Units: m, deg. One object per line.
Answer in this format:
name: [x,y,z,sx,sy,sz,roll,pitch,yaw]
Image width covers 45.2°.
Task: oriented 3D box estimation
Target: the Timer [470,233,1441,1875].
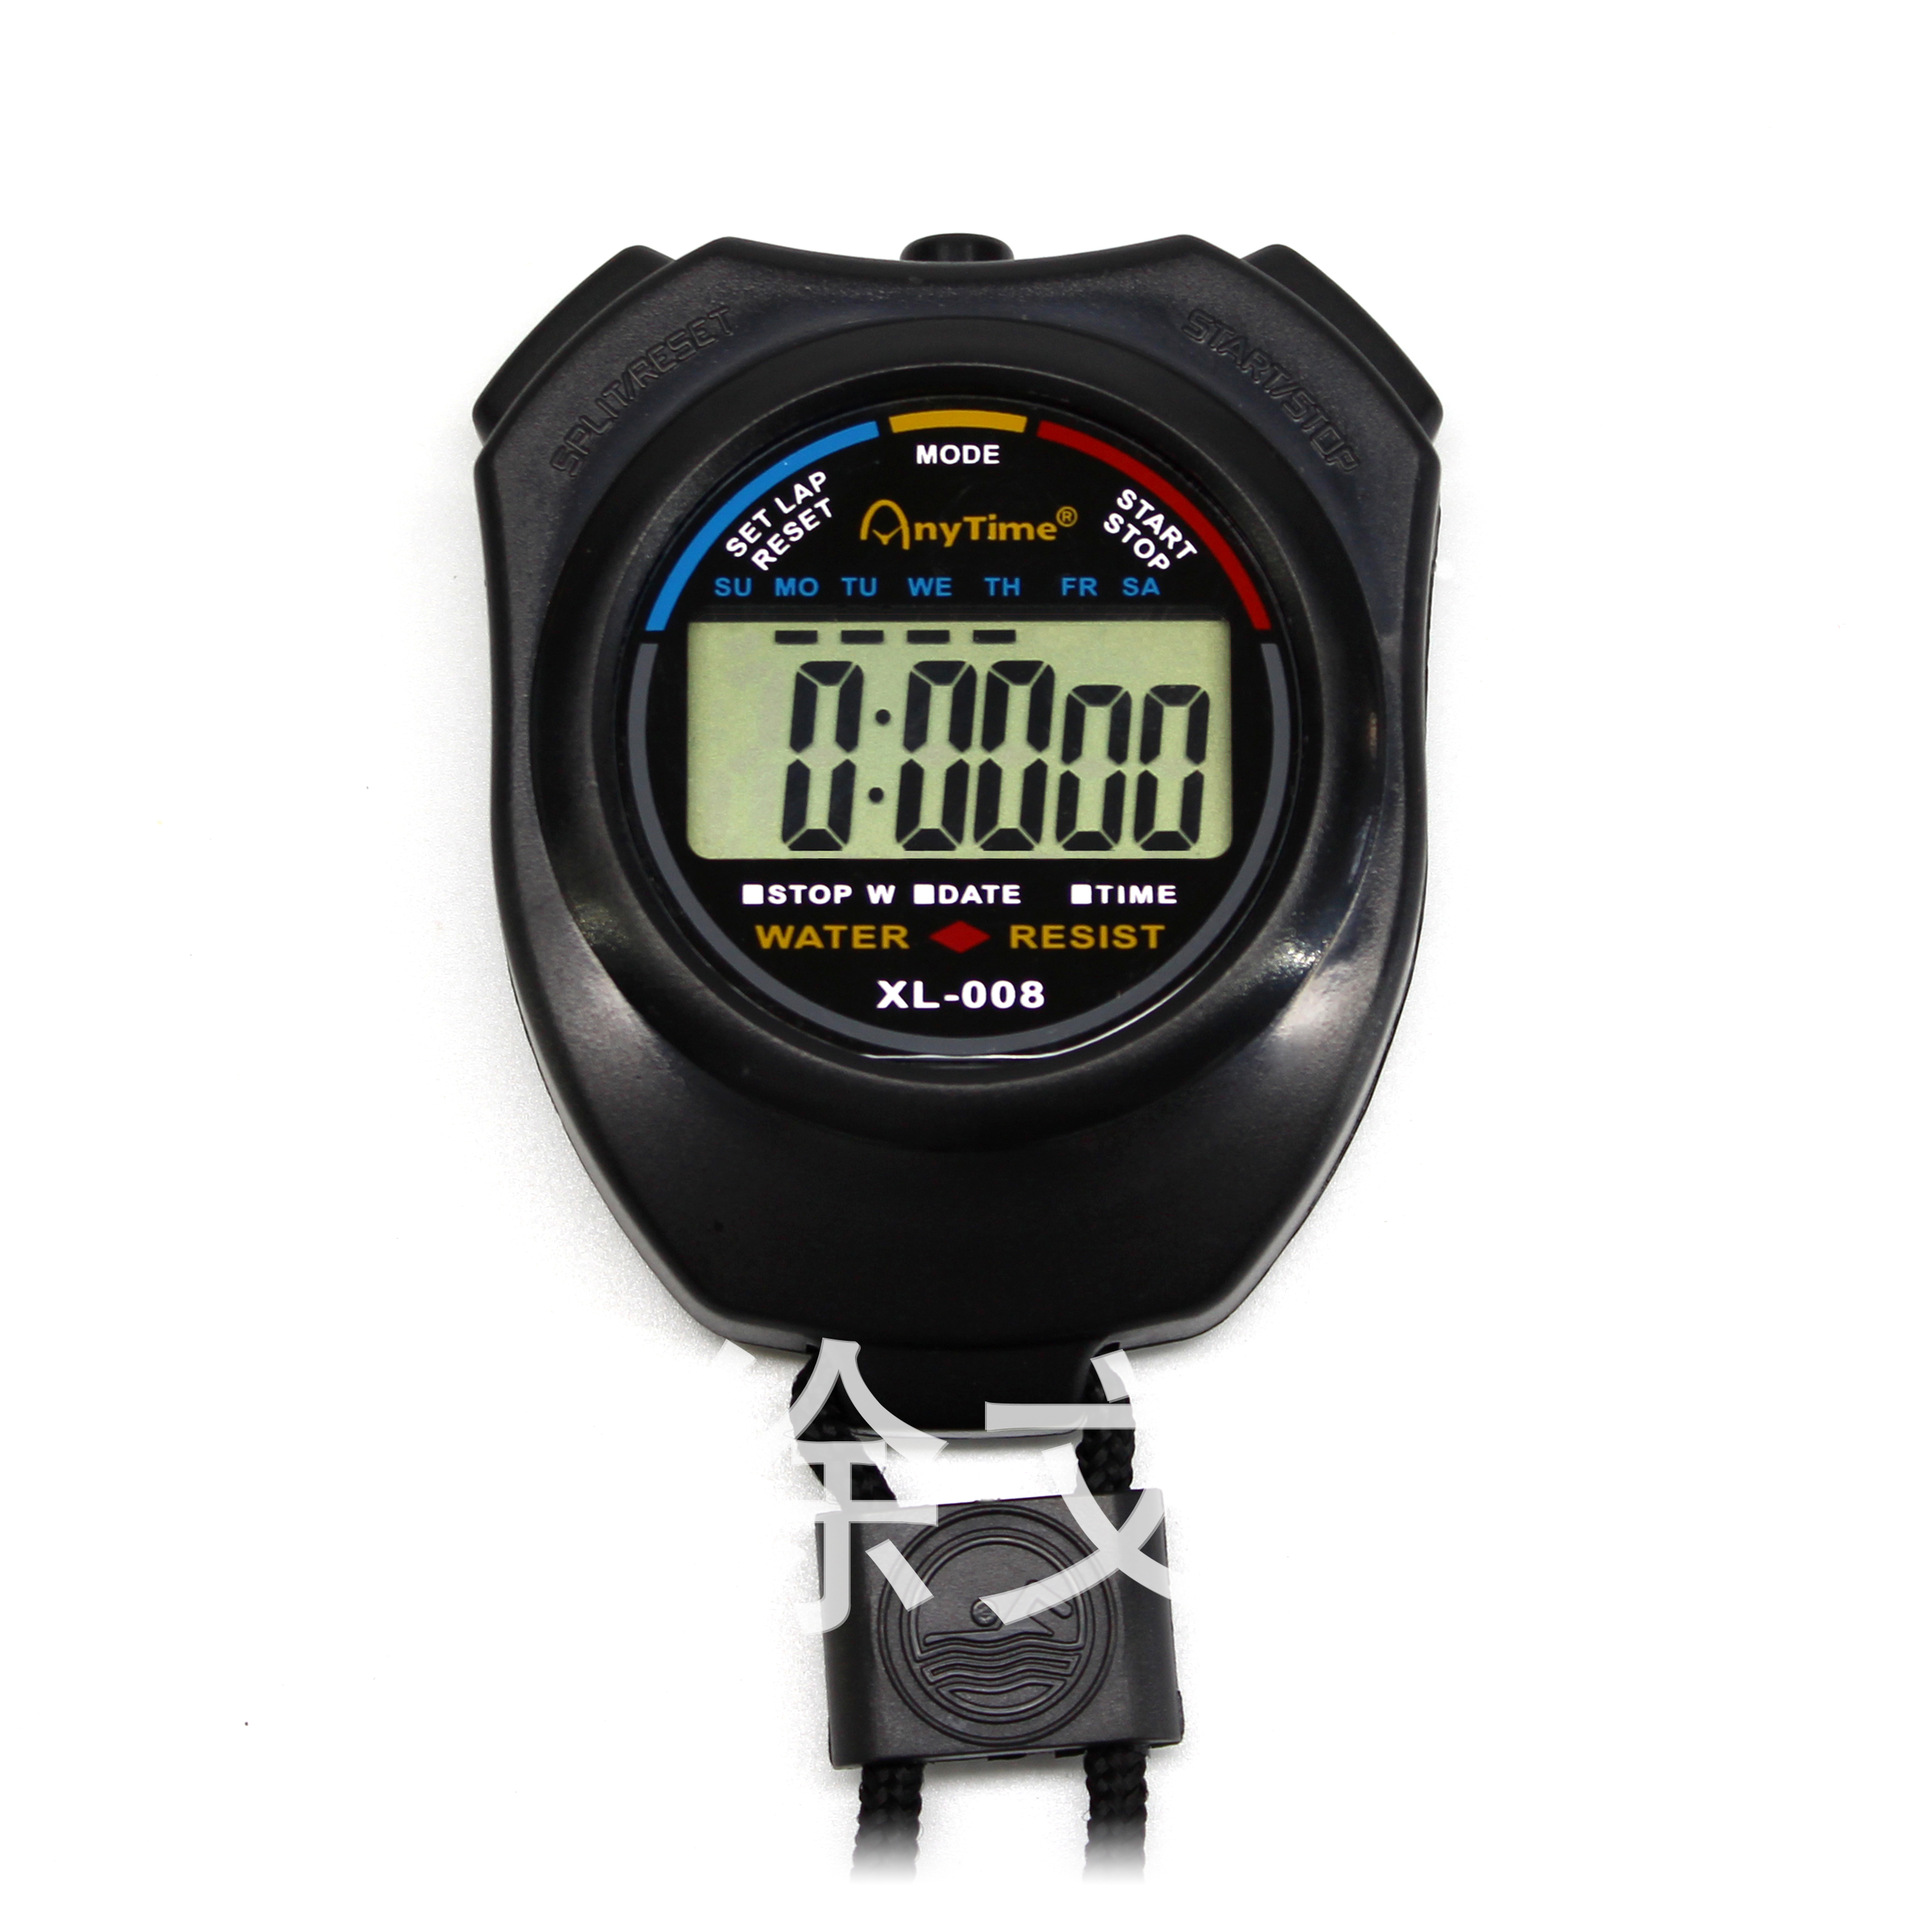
Timer: [-0.012,-0.051,0.943,0.404,0.492,0.313,3,-44,1]
